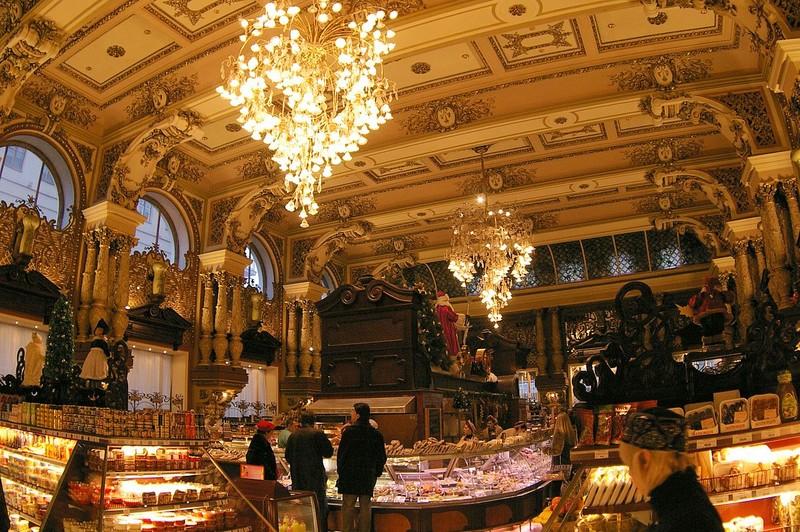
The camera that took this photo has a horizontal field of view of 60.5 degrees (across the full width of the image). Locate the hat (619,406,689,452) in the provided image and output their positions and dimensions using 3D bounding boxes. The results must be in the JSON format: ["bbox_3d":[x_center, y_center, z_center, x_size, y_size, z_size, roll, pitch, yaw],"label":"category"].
[{"bbox_3d":[2.000,1.291,5.353,0.356,0.225,0.354,-5,-25,39],"label":"hat"}]

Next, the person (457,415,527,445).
[{"bbox_3d":[1.436,2.612,10.846,0.817,0.234,0.765,-2,-8,2],"label":"person"}]

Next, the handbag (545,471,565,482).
[{"bbox_3d":[2.374,3.120,10.225,0.208,0.110,0.202,0,-8,-19],"label":"handbag"}]
